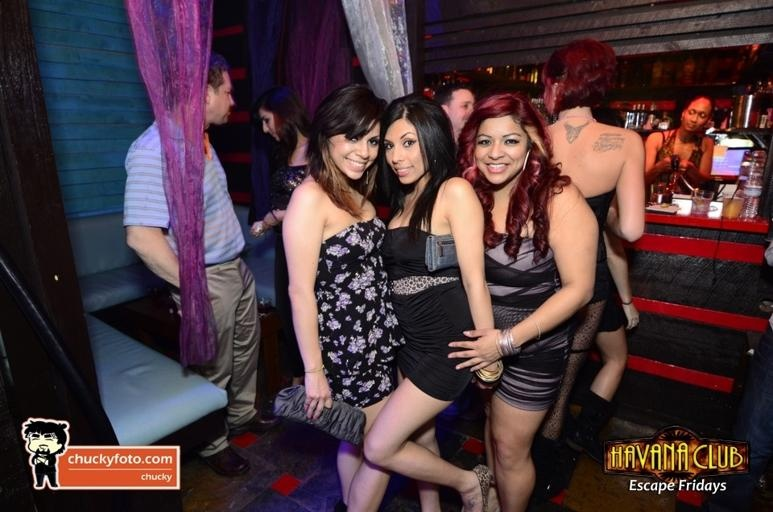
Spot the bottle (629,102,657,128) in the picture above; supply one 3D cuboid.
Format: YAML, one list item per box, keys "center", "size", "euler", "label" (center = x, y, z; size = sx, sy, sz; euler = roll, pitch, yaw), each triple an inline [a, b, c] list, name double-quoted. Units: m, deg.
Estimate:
- center: [2.958, -1.598, 5.307]
  size: [0.310, 0.356, 0.313]
  euler: [9, 19, 32]
  label: "bottle"

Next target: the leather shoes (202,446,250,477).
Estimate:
- center: [-1.042, 1.371, 3.038]
  size: [0.314, 0.121, 0.151]
  euler: [6, 11, 16]
  label: "leather shoes"

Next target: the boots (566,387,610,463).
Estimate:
- center: [1.411, 1.175, 3.213]
  size: [0.236, 0.396, 0.256]
  euler: [11, 24, 26]
  label: "boots"

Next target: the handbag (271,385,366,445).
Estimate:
- center: [-0.338, 0.798, 2.343]
  size: [0.457, 0.253, 0.122]
  euler: [24, -16, -7]
  label: "handbag"

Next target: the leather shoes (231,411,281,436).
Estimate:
- center: [-0.940, 1.228, 3.385]
  size: [0.351, 0.140, 0.127]
  euler: [-12, 25, -25]
  label: "leather shoes"

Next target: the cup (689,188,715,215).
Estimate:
- center: [2.343, -0.384, 3.447]
  size: [0.132, 0.164, 0.193]
  euler: [14, 25, 32]
  label: "cup"

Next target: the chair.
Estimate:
- center: [-1.603, 0.495, 4.176]
  size: [1.475, 2.109, 1.991]
  euler: [-19, 27, -41]
  label: "chair"

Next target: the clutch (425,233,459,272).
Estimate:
- center: [0.268, -0.022, 2.236]
  size: [0.167, 0.154, 0.066]
  euler: [-8, 12, -37]
  label: "clutch"
